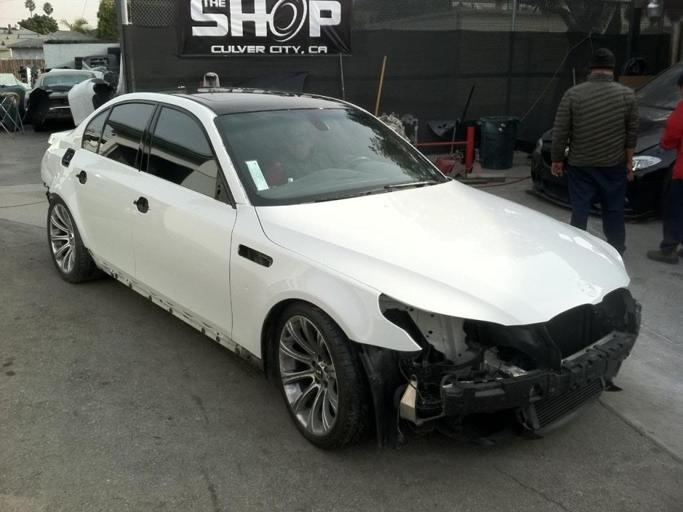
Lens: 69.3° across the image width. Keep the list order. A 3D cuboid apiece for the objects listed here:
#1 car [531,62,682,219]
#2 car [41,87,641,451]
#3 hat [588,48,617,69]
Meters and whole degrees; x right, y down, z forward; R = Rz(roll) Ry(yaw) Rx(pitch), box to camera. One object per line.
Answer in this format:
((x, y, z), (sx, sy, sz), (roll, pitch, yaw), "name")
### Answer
((4.899, -1.859, 7.858), (3.416, 1.592, 1.691), (-14, 24, -23), "car")
((-0.158, -0.107, 3.754), (4.268, 1.961, 1.664), (17, 24, 34), "car")
((3.005, -2.258, 5.644), (0.222, 0.220, 0.330), (15, 23, 31), "hat")
